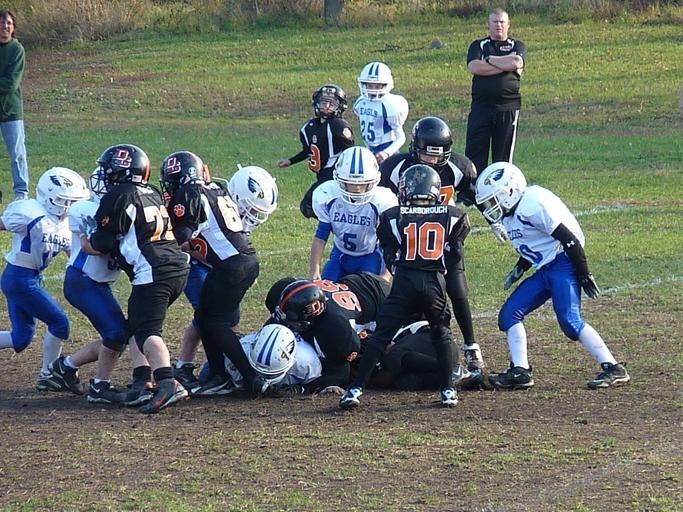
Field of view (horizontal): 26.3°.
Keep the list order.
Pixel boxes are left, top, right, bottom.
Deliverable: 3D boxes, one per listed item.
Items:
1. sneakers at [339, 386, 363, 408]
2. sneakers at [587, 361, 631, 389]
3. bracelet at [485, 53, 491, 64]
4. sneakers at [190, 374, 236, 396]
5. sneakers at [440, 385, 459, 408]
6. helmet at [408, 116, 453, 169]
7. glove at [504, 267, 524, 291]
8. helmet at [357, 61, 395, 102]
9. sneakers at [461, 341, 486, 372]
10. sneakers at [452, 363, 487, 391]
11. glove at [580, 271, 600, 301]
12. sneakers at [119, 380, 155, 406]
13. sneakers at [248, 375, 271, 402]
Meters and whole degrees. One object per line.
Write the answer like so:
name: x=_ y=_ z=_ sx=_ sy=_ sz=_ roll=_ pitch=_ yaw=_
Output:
sneakers: x=0.092 y=1.698 z=17.277 sx=0.262 sy=0.264 sz=0.147 roll=-1 pitch=16 yaw=-1
sneakers: x=3.207 y=1.423 z=17.652 sx=0.631 sy=0.287 sz=0.224 roll=-11 pitch=17 yaw=-11
bracelet: x=2.156 y=-2.952 z=21.932 sx=0.085 sy=0.108 sz=0.108 roll=-1 pitch=9 yaw=-8
sneakers: x=-1.548 y=1.603 z=17.912 sx=0.648 sy=0.215 sz=0.274 roll=-5 pitch=-21 yaw=-18
sneakers: x=1.247 y=1.680 z=17.317 sx=0.240 sy=0.206 sz=0.463 roll=-2 pitch=-3 yaw=4
helmet: x=1.100 y=-1.495 z=18.596 sx=0.490 sy=0.552 sz=0.676 roll=0 pitch=33 yaw=-13
glove: x=2.140 y=0.288 z=18.393 sx=0.231 sy=0.362 sz=0.539 roll=1 pitch=16 yaw=5
helmet: x=0.449 y=-2.599 z=21.437 sx=0.463 sy=0.489 sz=0.593 roll=7 pitch=22 yaw=-1
sneakers: x=1.600 y=1.266 z=17.974 sx=0.165 sy=0.459 sz=0.224 roll=-14 pitch=-28 yaw=9
sneakers: x=1.450 y=1.500 z=17.783 sx=0.535 sy=0.246 sz=0.197 roll=8 pitch=36 yaw=27
glove: x=3.036 y=0.391 z=17.785 sx=0.204 sy=0.390 sz=0.108 roll=-27 pitch=10 yaw=44
sneakers: x=-2.435 y=1.655 z=17.434 sx=0.489 sy=0.210 sz=0.183 roll=-24 pitch=-26 yaw=36
sneakers: x=-1.010 y=1.602 z=17.788 sx=0.237 sy=0.274 sz=0.307 roll=1 pitch=-3 yaw=2
